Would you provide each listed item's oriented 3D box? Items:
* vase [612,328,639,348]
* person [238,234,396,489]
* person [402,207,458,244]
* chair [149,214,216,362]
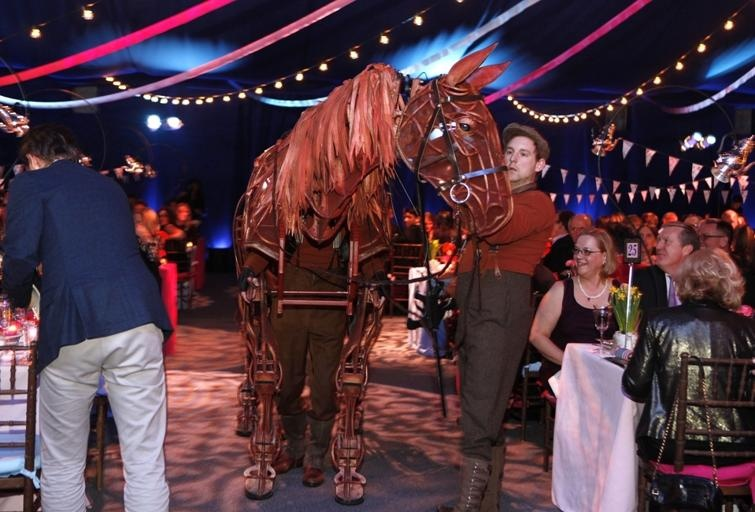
[{"bbox_3d":[1.641,0.543,4.258,0.118,0.074,0.108,1,-3,-2],"label":"vase"},{"bbox_3d":[-0.452,0.716,4.512,0.910,1.791,0.410,2,10,0],"label":"person"},{"bbox_3d":[0.667,-0.469,9.712,0.438,0.709,1.527,-1,-2,-20],"label":"person"},{"bbox_3d":[-2.601,0.403,8.627,0.737,2.197,0.872,-2,-54,-11],"label":"chair"}]
